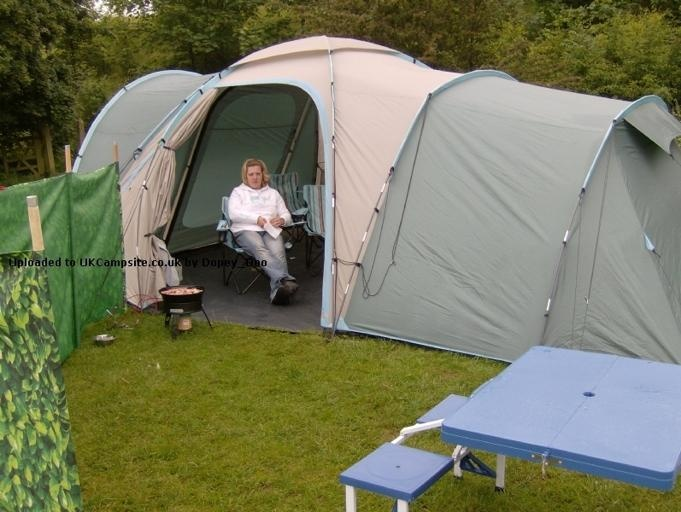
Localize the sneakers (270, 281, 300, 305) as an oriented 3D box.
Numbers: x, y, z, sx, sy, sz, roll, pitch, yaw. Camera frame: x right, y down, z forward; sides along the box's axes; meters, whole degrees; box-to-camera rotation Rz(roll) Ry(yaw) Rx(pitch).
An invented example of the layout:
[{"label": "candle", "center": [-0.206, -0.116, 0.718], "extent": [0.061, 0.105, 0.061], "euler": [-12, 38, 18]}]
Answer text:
[{"label": "sneakers", "center": [-0.575, 0.384, 6.475], "extent": [0.137, 0.196, 0.434], "euler": [-7, -27, -22]}]

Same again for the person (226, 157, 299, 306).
[{"label": "person", "center": [-0.788, -0.325, 6.733], "extent": [0.673, 1.269, 1.810], "euler": [0, 15, -20]}]
